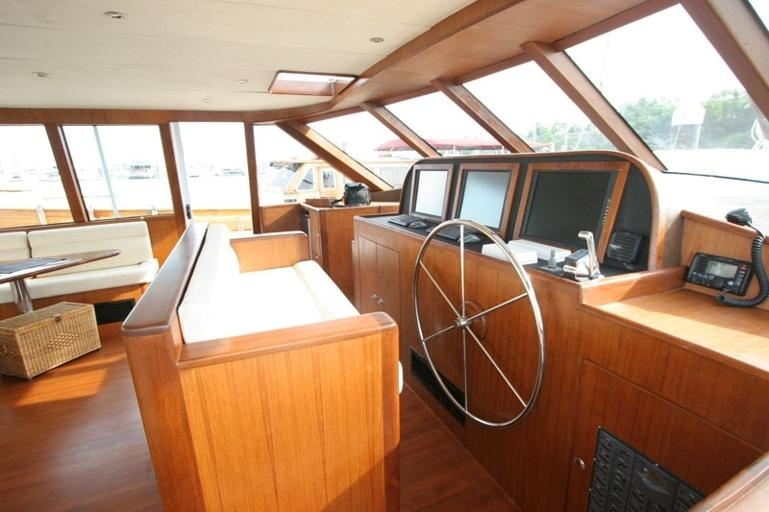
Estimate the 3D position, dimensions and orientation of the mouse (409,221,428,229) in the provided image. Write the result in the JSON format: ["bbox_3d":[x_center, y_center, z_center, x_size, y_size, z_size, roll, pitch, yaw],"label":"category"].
[{"bbox_3d":[0.253,-0.233,3.556,0.136,0.046,0.130,0,10,6],"label":"mouse"}]

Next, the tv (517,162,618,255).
[{"bbox_3d":[1.100,-0.276,2.802,0.053,0.489,0.507,2,16,-44],"label":"tv"}]

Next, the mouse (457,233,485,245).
[{"bbox_3d":[0.588,-0.117,3.154,0.124,0.055,0.160,-1,10,4],"label":"mouse"}]

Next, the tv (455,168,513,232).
[{"bbox_3d":[0.682,-0.375,3.191,0.033,0.457,0.472,6,10,-32],"label":"tv"}]

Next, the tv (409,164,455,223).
[{"bbox_3d":[0.380,-0.478,3.689,0.044,0.440,0.523,6,19,-25],"label":"tv"}]
